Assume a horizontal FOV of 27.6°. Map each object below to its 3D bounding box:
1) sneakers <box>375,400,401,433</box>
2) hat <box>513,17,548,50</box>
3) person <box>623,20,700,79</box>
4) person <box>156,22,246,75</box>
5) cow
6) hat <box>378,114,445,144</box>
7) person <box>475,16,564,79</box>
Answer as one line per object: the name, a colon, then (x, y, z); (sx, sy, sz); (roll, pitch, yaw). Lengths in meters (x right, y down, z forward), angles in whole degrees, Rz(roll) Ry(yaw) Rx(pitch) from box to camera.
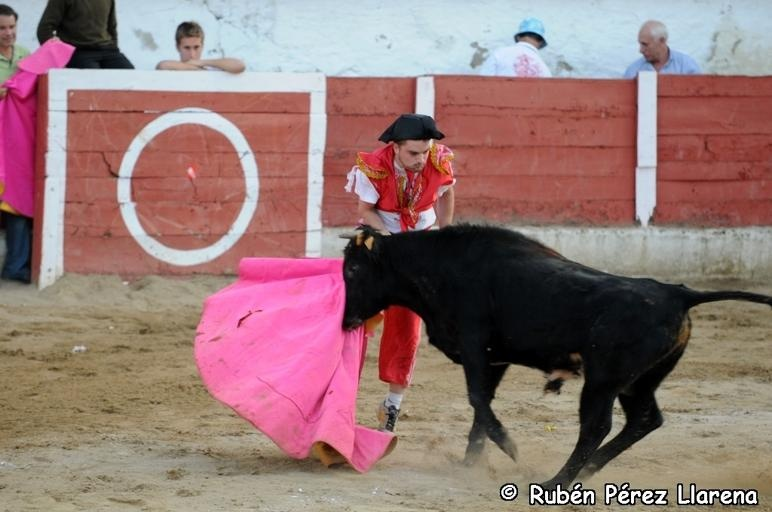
sneakers: (0.009, 1.056, 10.295); (0.122, 0.257, 0.090); (-25, -28, 24)
hat: (1.241, -1.902, 13.434); (0.295, 0.162, 0.252); (17, -3, -12)
person: (2.377, -1.746, 13.449); (0.741, 0.556, 0.412); (6, 23, 34)
person: (-1.584, -1.713, 13.025); (0.585, 0.413, 0.891); (-1, 2, -6)
cow: (0.868, 0.611, 9.791); (2.195, 1.578, 0.423); (2, 10, 18)
hat: (0.141, -0.862, 10.581); (0.474, 0.146, 0.438); (-1, 8, -6)
person: (1.184, -1.781, 13.337); (0.537, 0.485, 0.788); (7, 11, 38)
